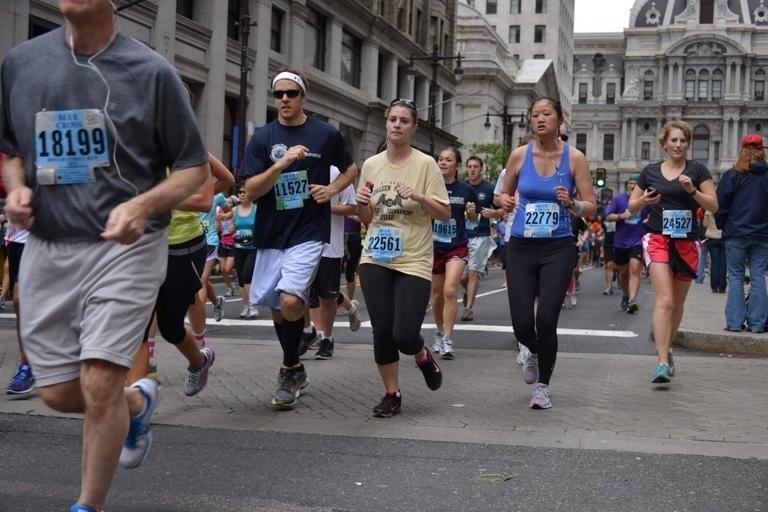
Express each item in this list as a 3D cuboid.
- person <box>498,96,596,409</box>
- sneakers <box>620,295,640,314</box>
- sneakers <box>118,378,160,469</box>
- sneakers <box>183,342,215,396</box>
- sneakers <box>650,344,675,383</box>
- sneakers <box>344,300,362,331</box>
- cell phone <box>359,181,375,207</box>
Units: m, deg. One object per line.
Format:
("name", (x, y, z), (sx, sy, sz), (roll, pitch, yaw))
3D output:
("person", (1.433, -0.029, 6.696), (0.806, 2.788, 0.949), (2, 7, 9))
("sneakers", (4.721, 0.971, 14.219), (0.206, 0.268, 0.611), (-10, -11, 1))
("sneakers", (-1.308, 0.915, 3.980), (0.182, 0.531, 0.241), (6, 19, 2))
("sneakers", (-1.662, 1.002, 6.432), (0.181, 0.524, 0.243), (15, 6, 18))
("sneakers", (2.714, 1.117, 7.286), (0.201, 0.279, 0.624), (-6, -6, 26))
("sneakers", (-0.493, 0.879, 10.635), (0.162, 0.448, 0.193), (-10, 6, 27))
("cell phone", (-0.166, -0.530, 6.377), (0.077, 0.186, 0.143), (15, 8, 0))
